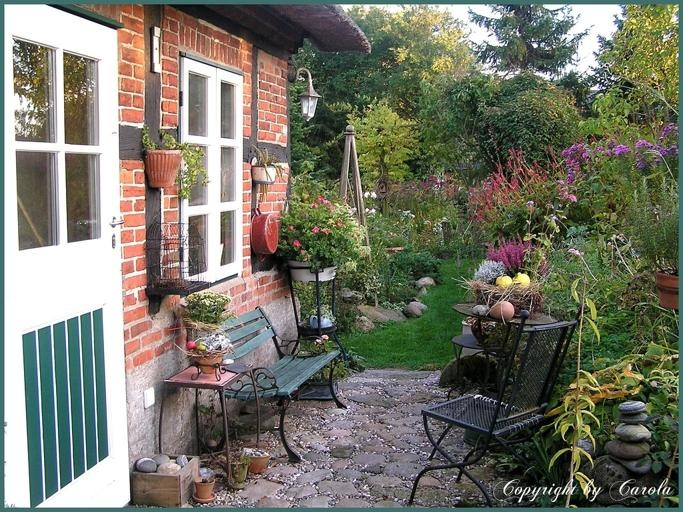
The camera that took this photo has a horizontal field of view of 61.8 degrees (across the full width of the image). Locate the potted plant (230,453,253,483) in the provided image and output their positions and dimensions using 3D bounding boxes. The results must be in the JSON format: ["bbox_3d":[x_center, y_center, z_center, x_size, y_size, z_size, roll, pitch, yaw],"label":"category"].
[{"bbox_3d":[-0.751,1.538,4.157,0.149,0.163,0.160,0,-5,10],"label":"potted plant"}]

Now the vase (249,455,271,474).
[{"bbox_3d":[-0.625,1.542,4.231,0.143,0.104,0.144,1,1,-22],"label":"vase"}]

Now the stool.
[{"bbox_3d":[1.243,0.998,5.515,0.625,0.741,0.663,1,-3,3],"label":"stool"}]

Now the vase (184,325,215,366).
[{"bbox_3d":[-1.084,0.644,4.168,0.259,0.296,0.275,1,-11,-9],"label":"vase"}]

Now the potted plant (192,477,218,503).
[{"bbox_3d":[-0.959,1.602,3.926,0.133,0.101,0.135,0,-3,-2],"label":"potted plant"}]

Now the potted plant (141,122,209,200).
[{"bbox_3d":[-1.231,-0.674,4.190,0.270,0.306,0.505,2,-3,5],"label":"potted plant"}]

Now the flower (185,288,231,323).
[{"bbox_3d":[-1.033,0.371,4.292,0.241,0.203,0.285,2,5,-6],"label":"flower"}]

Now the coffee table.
[{"bbox_3d":[1.148,0.779,3.844,0.745,1.025,0.694,4,10,18],"label":"coffee table"}]

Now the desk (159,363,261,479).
[{"bbox_3d":[-0.911,1.203,4.407,0.683,0.910,0.948,3,2,13],"label":"desk"}]

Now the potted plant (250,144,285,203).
[{"bbox_3d":[-0.763,-0.842,5.823,0.230,0.597,0.644,2,9,6],"label":"potted plant"}]

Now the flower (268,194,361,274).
[{"bbox_3d":[-0.245,-0.206,6.137,0.788,0.603,0.807,4,-2,8],"label":"flower"}]
